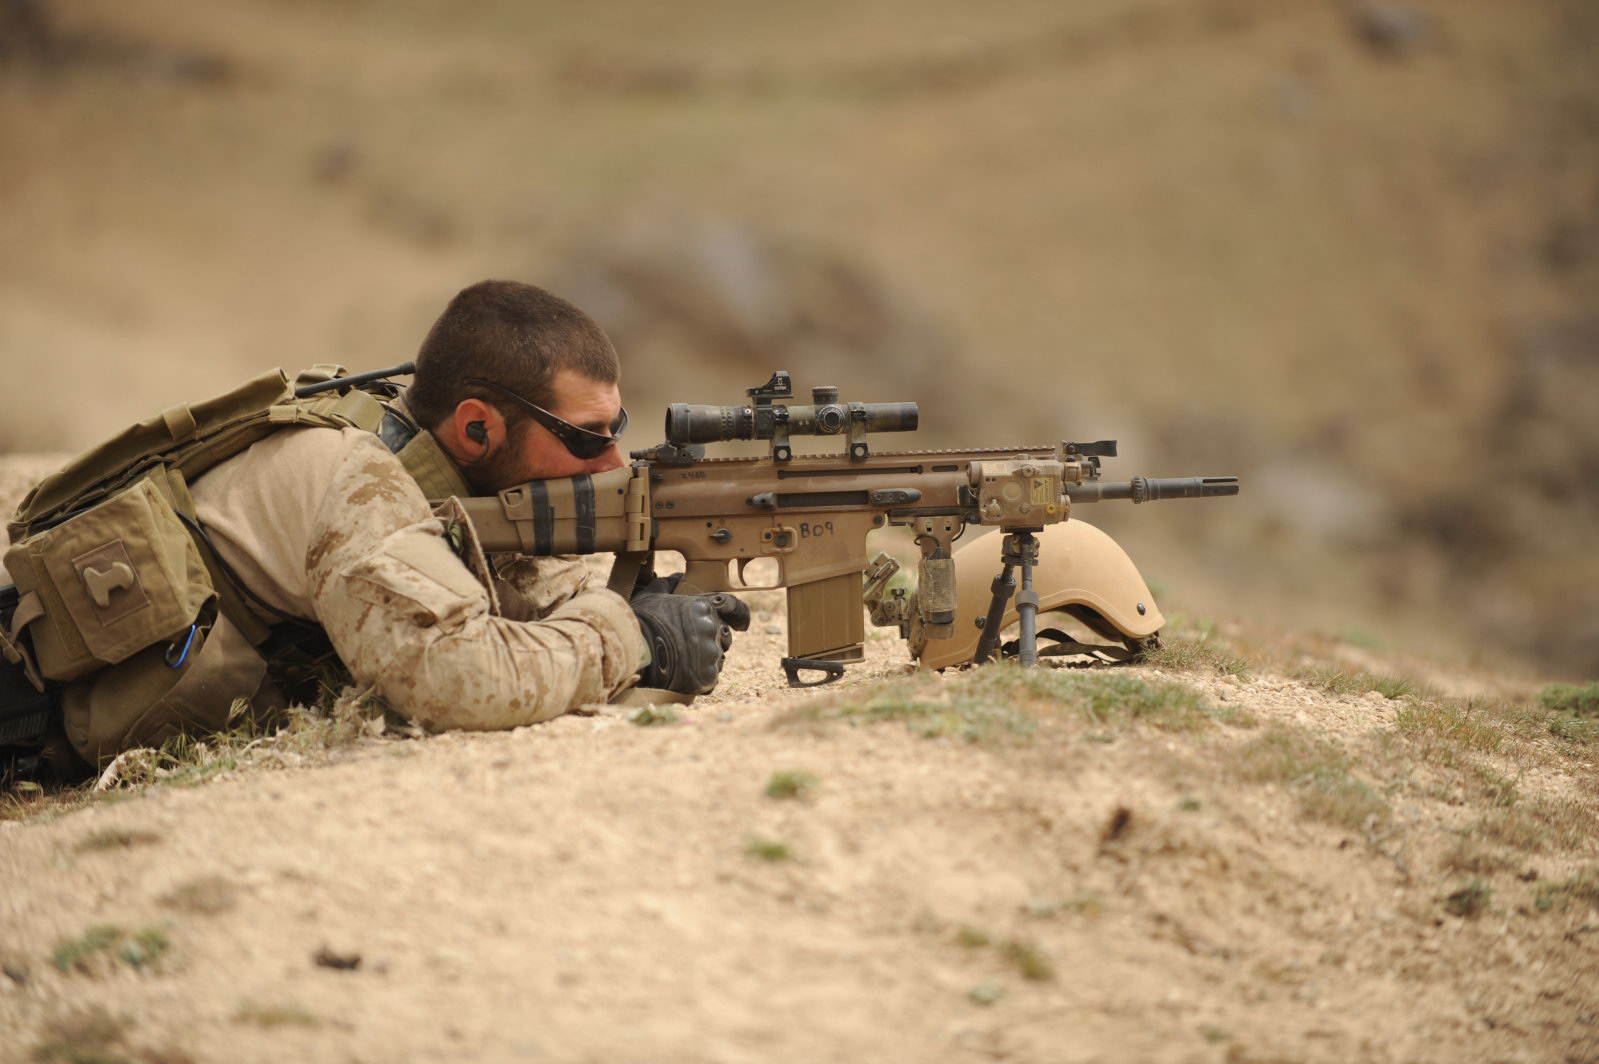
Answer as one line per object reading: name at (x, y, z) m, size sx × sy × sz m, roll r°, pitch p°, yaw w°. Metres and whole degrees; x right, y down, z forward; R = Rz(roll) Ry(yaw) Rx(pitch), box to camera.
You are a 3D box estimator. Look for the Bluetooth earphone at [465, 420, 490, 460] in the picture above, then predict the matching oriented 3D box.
Bluetooth earphone at (-1.651, -0.501, 11.887) m, size 0.096 × 0.133 × 0.048 m, roll 6°, pitch 6°, yaw 8°
